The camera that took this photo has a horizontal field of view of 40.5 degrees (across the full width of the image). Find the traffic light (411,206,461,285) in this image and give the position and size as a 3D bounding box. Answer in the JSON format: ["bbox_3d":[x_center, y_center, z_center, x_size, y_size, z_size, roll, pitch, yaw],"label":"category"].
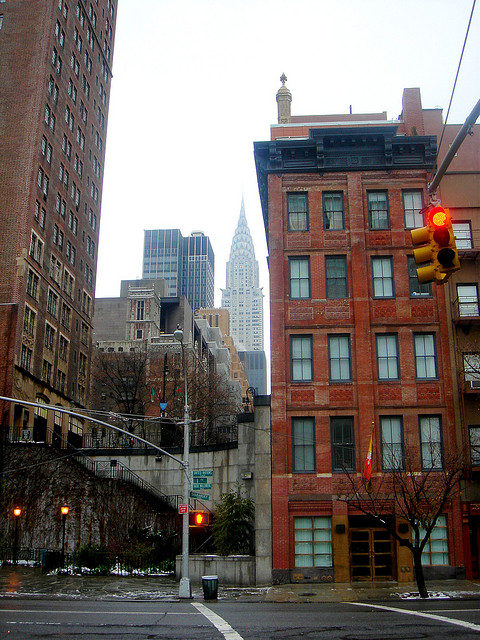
[{"bbox_3d":[2.479,-0.923,8.314,0.480,1.159,0.260,-15,-35,23],"label":"traffic light"}]

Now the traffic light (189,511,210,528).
[{"bbox_3d":[-1.503,7.375,24.323,0.641,0.583,2.022,-1,-21,-6],"label":"traffic light"}]

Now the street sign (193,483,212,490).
[{"bbox_3d":[-1.412,6.240,24.440,0.683,0.258,0.734,0,-20,-7],"label":"street sign"}]

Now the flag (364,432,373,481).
[{"bbox_3d":[5.293,5.585,26.716,0.470,1.909,1.062,-5,-18,11],"label":"flag"}]

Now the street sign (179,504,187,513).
[{"bbox_3d":[-2.045,6.837,23.584,0.333,0.286,0.314,8,-21,-27],"label":"street sign"}]

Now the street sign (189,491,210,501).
[{"bbox_3d":[-1.568,6.731,24.922,0.669,0.359,0.982,-3,-20,0],"label":"street sign"}]
